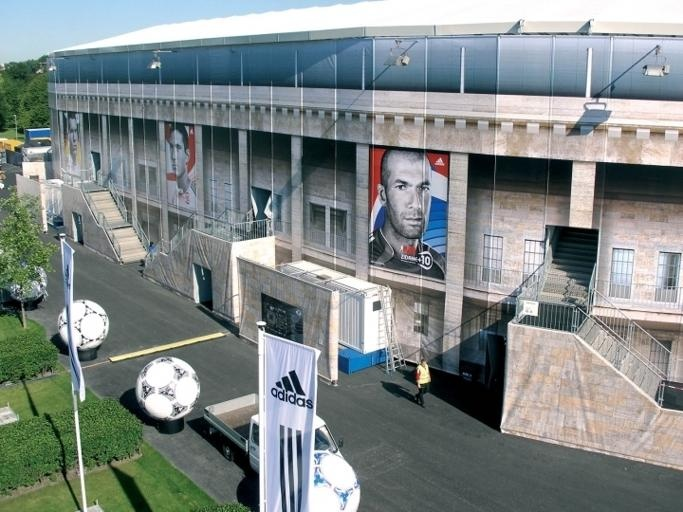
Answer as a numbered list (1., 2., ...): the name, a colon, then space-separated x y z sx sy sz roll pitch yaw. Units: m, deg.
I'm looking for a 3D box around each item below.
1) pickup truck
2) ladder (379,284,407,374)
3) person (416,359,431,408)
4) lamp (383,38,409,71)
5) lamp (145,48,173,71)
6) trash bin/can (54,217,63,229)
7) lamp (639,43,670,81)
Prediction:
1. pickup truck: -3.300 6.952 26.563 2.883 2.626 5.903 -5 8 -36
2. ladder: 2.619 3.742 34.649 1.485 4.120 1.281 -7 14 -41
3. person: 3.774 5.828 31.177 0.628 2.240 1.091 4 11 7
4. lamp: 2.672 -9.940 32.252 1.257 1.325 1.740 4 12 3
5. lamp: -13.586 -14.444 48.421 1.047 1.375 3.948 -4 15 -33
6. trash bin/can: -26.846 -3.182 61.887 0.617 1.071 2.008 -4 14 -32
7. lamp: 12.973 -7.998 27.042 0.956 1.238 0.541 10 11 28
